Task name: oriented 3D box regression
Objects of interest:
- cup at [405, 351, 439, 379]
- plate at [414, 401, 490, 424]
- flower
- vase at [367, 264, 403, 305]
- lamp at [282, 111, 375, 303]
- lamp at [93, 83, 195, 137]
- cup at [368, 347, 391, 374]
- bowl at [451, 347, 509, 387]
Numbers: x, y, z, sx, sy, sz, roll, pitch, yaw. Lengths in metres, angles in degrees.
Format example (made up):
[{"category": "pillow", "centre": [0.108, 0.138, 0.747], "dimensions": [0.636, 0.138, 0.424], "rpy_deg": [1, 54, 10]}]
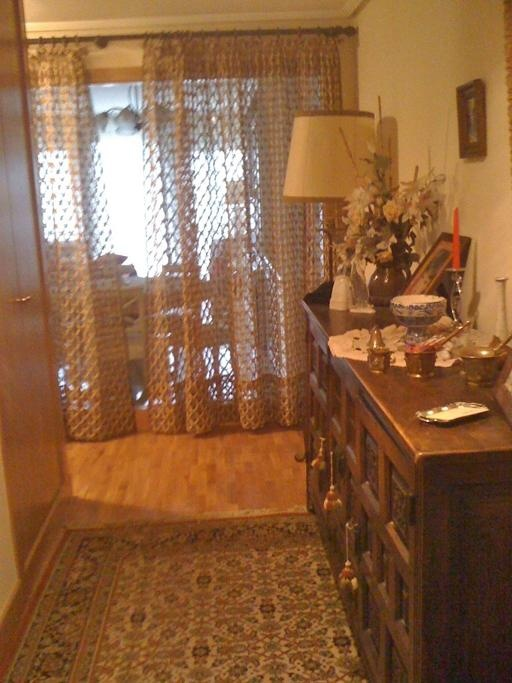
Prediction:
[{"category": "cup", "centre": [0.293, 0.039, 1.000], "dimensions": [0.042, 0.041, 0.048], "rpy_deg": [-4, 11, -14]}, {"category": "plate", "centre": [0.276, 0.098, 0.785], "dimensions": [0.119, 0.013, 0.060], "rpy_deg": [-9, 11, -33]}, {"category": "flower", "centre": [0.412, -0.357, 1.739], "dimensions": [0.274, 0.459, 0.297], "rpy_deg": [4, 12, 15]}, {"category": "vase", "centre": [0.403, -0.175, 1.761], "dimensions": [0.097, 0.143, 0.113], "rpy_deg": [1, 17, 17]}, {"category": "lamp", "centre": [0.230, -0.580, 1.872], "dimensions": [0.241, 0.357, 0.287], "rpy_deg": [-2, 17, -1]}, {"category": "lamp", "centre": [-0.697, -1.279, 3.220], "dimensions": [0.289, 0.253, 0.457], "rpy_deg": [-2, 13, 0]}, {"category": "cup", "centre": [0.232, 0.036, 1.052], "dimensions": [0.030, 0.039, 0.045], "rpy_deg": [0, 8, 5]}, {"category": "bowl", "centre": [0.385, 0.029, 0.945], "dimensions": [0.063, 0.053, 0.059], "rpy_deg": [-3, 13, 1]}]
